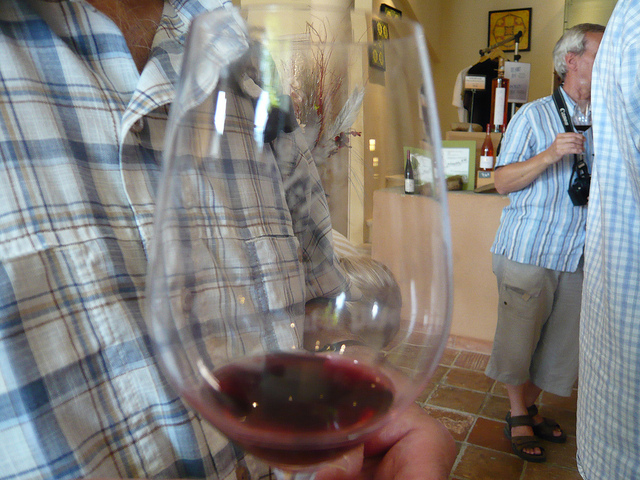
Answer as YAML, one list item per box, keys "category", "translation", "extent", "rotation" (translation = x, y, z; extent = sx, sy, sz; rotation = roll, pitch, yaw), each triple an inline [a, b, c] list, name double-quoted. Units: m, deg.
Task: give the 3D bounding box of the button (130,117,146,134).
- category: "button"
  translation: [-0.254, -0.158, 0.668]
  extent: [0.015, 0.010, 0.020]
  rotation: [-31, -12, -44]

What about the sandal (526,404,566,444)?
- category: "sandal"
  translation: [0.991, 0.807, 2.119]
  extent: [0.075, 0.065, 0.189]
  rotation: [-18, 24, -35]

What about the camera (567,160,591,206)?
- category: "camera"
  translation: [1.039, -0.219, 1.904]
  extent: [0.047, 0.153, 0.107]
  rotation: [7, 19, 35]

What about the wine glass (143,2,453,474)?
- category: "wine glass"
  translation: [-0.029, 0.006, 0.452]
  extent: [0.247, 0.456, 0.221]
  rotation: [6, -13, -26]

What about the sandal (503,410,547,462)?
- category: "sandal"
  translation: [0.870, 0.830, 2.037]
  extent: [0.080, 0.099, 0.228]
  rotation: [-5, 3, -3]

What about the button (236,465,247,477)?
- category: "button"
  translation: [-0.103, 0.306, 0.631]
  extent: [0.014, 0.012, 0.006]
  rotation: [4, -12, -18]
